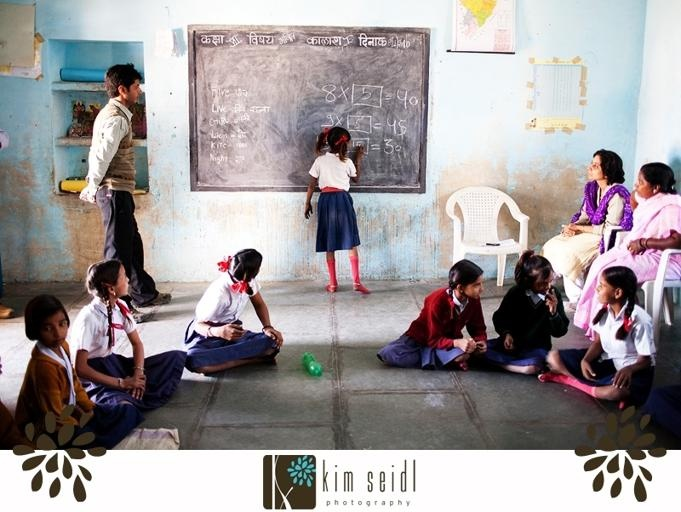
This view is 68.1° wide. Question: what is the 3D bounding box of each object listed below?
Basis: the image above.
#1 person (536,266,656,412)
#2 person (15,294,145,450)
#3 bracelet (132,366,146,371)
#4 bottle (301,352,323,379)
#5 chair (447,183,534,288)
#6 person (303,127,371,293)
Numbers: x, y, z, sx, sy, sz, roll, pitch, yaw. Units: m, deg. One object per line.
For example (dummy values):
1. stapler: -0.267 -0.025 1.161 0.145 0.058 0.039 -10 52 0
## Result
1. person: 1.560 0.371 3.080 0.675 0.831 0.722 -3 14 -3
2. person: -1.239 0.529 2.315 0.491 0.724 0.318 -1 11 -4
3. bracelet: -1.086 0.608 2.749 0.032 0.013 0.032 3 2 -37
4. bottle: -0.172 0.672 3.176 0.112 0.088 0.217 -4 12 -18
5. chair: 1.484 -0.136 5.239 0.789 1.055 0.863 9 -4 -38
6. person: -0.050 -0.459 4.857 0.573 1.552 0.548 -2 11 -5
